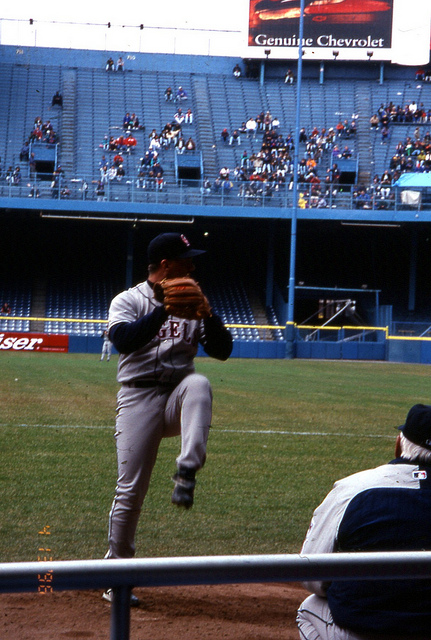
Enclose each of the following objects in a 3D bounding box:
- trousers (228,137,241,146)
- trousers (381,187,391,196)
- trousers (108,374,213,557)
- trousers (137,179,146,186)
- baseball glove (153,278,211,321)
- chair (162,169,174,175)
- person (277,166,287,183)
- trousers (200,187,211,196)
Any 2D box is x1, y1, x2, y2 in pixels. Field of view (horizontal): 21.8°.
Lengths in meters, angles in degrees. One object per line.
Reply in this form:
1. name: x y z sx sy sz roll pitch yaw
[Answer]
1. trousers: 0.632 -5.450 33.858 0.201 0.296 0.674 0 2 29
2. trousers: 4.500 -3.428 29.585 0.347 0.046 0.310 0 42 7
3. trousers: -0.260 0.760 5.639 0.424 0.981 0.765 -2 2 -33
4. trousers: -1.938 -3.675 29.603 0.215 0.170 0.217 -1 2 -4
5. baseball glove: -0.167 -0.111 5.595 0.282 0.210 0.202 -1 2 -3
6. chair: -1.365 -4.333 32.370 0.355 0.166 0.126 -1 2 -29
7. person: 1.867 -4.183 31.542 0.261 0.485 0.754 -1 2 5
8. trousers: -0.256 -3.431 29.576 0.281 0.262 0.702 -1 2 -1
